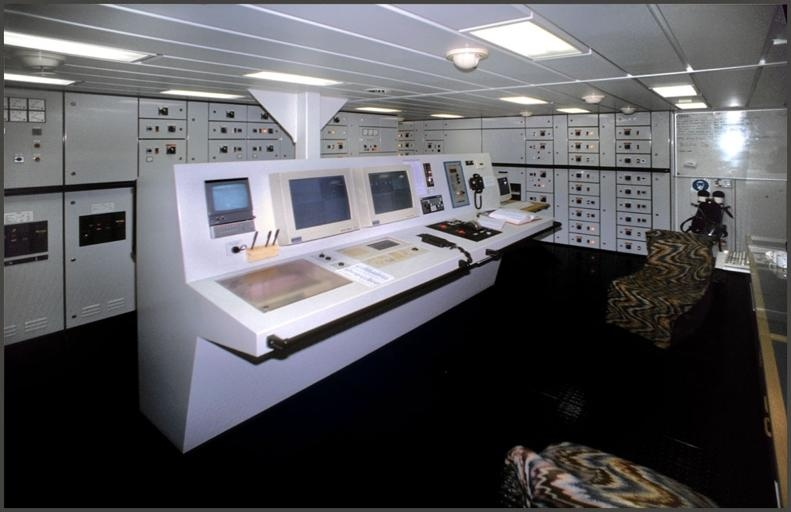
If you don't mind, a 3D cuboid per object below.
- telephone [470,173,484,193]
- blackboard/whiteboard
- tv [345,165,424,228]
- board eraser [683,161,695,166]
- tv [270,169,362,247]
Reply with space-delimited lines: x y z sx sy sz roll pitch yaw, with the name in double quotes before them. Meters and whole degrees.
"telephone" 1.107 -0.962 5.980 0.148 0.247 0.240 6 15 34
"blackboard/whiteboard" 5.604 -1.826 7.328 1.959 1.095 0.083 6 11 42
"tv" -0.128 -0.675 4.959 0.287 0.583 0.879 -2 10 38
"board eraser" 5.165 -1.601 7.792 0.159 0.102 0.038 7 6 30
"tv" -0.795 -0.495 4.320 0.295 0.608 0.939 3 13 40
